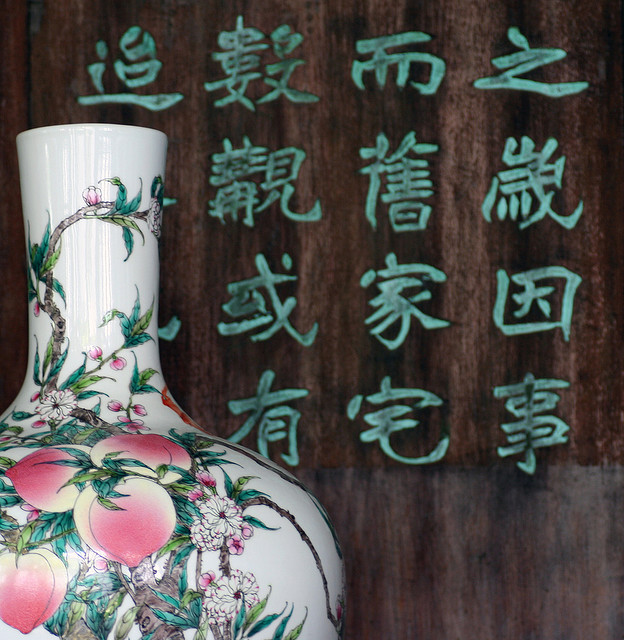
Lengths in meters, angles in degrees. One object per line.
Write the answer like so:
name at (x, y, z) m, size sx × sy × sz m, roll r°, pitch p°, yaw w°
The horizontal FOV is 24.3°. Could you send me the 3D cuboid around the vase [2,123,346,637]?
vase at (-0.173, 0.052, 1.500) m, size 0.380 × 0.624 × 0.418 m, roll -2°, pitch -3°, yaw 3°
